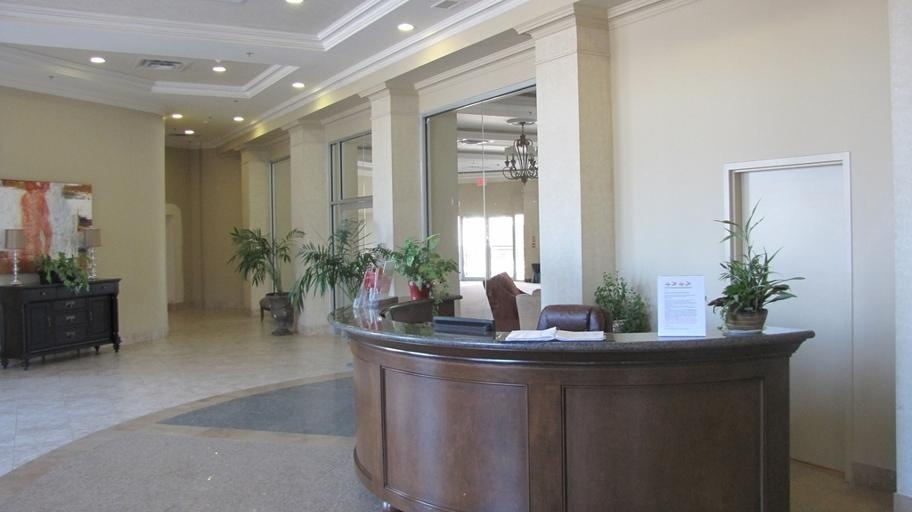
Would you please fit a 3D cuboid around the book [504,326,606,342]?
[{"bbox_3d":[0.899,0.710,5.273,0.915,0.066,0.381,0,9,6],"label":"book"}]

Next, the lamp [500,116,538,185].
[{"bbox_3d":[1.036,-1.582,8.891,0.643,0.937,0.624,-8,10,-29],"label":"lamp"}]

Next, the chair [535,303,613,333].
[{"bbox_3d":[1.247,0.663,6.122,0.429,0.413,0.418,-5,-3,33],"label":"chair"}]

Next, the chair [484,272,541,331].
[{"bbox_3d":[0.961,0.704,9.164,0.968,1.051,0.799,-1,3,6],"label":"chair"}]

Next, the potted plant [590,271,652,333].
[{"bbox_3d":[2.121,0.560,7.755,0.800,0.970,0.856,-9,-2,28],"label":"potted plant"}]

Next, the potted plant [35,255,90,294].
[{"bbox_3d":[-6.919,0.282,10.094,0.456,0.335,0.520,15,4,29],"label":"potted plant"}]

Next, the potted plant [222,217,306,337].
[{"bbox_3d":[-4.200,0.459,13.255,1.391,2.257,3.235,-4,10,-17],"label":"potted plant"}]

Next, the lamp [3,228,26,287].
[{"bbox_3d":[-7.496,0.017,9.876,0.277,0.929,0.428,-9,13,-36],"label":"lamp"}]
